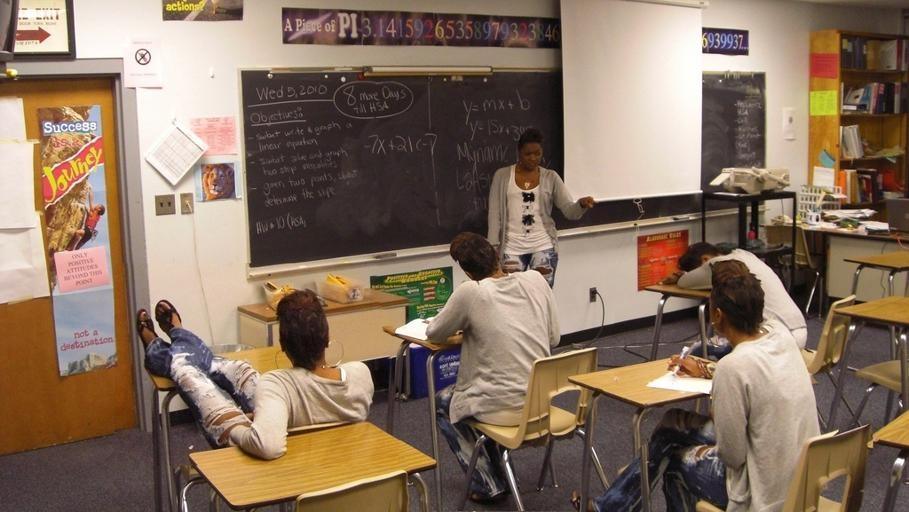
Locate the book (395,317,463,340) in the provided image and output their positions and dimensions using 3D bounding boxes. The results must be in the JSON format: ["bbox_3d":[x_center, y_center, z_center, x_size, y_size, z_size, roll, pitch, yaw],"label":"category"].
[{"bbox_3d":[-0.284,0.539,4.732,0.242,0.057,0.253,3,10,41],"label":"book"}]

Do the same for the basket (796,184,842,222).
[{"bbox_3d":[4.770,-0.683,8.423,0.526,0.488,0.271,-3,4,-24],"label":"basket"}]

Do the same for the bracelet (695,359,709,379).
[{"bbox_3d":[1.623,0.729,4.202,0.073,0.040,0.093,-14,37,-13],"label":"bracelet"}]

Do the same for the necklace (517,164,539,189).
[{"bbox_3d":[0.744,-0.811,6.494,0.190,0.254,0.104,2,11,-2],"label":"necklace"}]

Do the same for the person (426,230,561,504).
[{"bbox_3d":[0.278,0.829,4.572,0.826,1.970,0.538,1,10,22],"label":"person"}]

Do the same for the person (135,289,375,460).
[{"bbox_3d":[-1.263,0.588,4.026,1.496,0.791,0.830,29,21,38],"label":"person"}]

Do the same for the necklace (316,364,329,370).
[{"bbox_3d":[-0.754,0.630,3.696,0.029,0.032,0.071,5,12,39],"label":"necklace"}]
